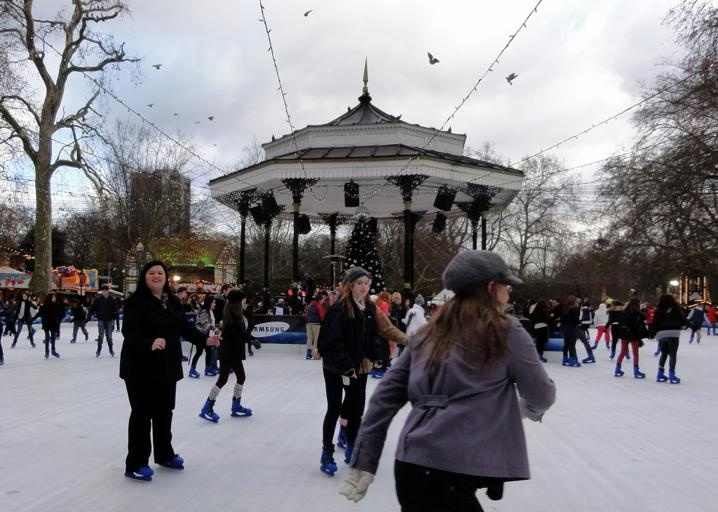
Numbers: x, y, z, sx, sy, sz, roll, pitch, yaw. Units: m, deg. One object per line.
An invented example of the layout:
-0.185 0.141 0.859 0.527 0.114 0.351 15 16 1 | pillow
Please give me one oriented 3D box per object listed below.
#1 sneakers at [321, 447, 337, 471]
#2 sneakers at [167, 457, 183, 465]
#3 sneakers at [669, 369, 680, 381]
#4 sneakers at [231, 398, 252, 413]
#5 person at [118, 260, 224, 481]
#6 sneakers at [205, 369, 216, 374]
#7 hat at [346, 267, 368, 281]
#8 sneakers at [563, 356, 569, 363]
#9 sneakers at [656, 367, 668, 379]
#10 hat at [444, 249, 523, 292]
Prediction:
-0.361 2.436 7.197 0.195 0.299 0.255 2 -4 -3 | sneakers
-2.193 2.458 7.208 0.166 0.120 0.092 -1 -3 0 | sneakers
6.778 2.567 12.928 0.201 0.297 0.366 -1 -5 31 | sneakers
-1.848 2.377 9.500 0.319 0.283 0.203 2 -4 -11 | sneakers
-2.377 1.304 7.040 0.773 2.510 0.406 3 -4 -21 | person
-3.438 2.659 13.858 0.272 0.101 0.121 1 -10 20 | sneakers
-0.036 0.188 7.343 0.166 0.089 0.195 -12 7 -4 | hat
5.632 2.845 16.363 0.150 0.191 0.246 0 -4 14 | sneakers
6.599 2.565 13.073 0.191 0.305 0.372 -1 -5 27 | sneakers
1.017 0.074 4.693 0.559 0.277 0.402 -3 4 2 | hat
